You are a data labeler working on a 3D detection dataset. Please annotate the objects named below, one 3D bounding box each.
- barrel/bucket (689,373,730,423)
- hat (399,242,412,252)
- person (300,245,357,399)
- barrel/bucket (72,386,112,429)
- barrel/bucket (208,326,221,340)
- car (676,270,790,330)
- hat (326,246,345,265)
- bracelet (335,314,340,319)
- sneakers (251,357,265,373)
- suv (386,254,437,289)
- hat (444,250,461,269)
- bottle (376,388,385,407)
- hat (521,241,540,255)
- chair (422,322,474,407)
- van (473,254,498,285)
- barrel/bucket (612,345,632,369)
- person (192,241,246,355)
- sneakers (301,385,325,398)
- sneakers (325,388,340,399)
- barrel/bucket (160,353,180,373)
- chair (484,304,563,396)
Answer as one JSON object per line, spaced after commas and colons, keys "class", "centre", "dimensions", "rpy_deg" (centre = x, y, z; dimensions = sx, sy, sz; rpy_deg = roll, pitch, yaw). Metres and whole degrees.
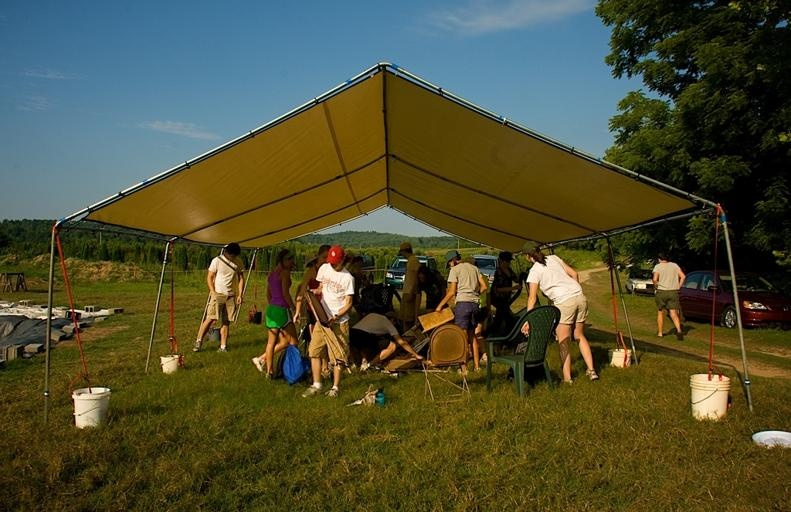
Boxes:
{"class": "barrel/bucket", "centre": [5.216, 2.342, 9.481], "dimensions": [0.686, 0.641, 0.629], "rpy_deg": [8, -10, 1]}
{"class": "hat", "centre": [0.328, -0.236, 14.103], "dimensions": [0.271, 0.218, 0.450], "rpy_deg": [6, -1, -23]}
{"class": "person", "centre": [-1.203, 1.200, 10.487], "dimensions": [0.832, 2.717, 0.557], "rpy_deg": [-1, -3, -10]}
{"class": "barrel/bucket", "centre": [-5.027, 2.477, 9.447], "dimensions": [0.572, 0.611, 0.447], "rpy_deg": [-2, -3, 6]}
{"class": "barrel/bucket", "centre": [-4.872, 2.084, 15.389], "dimensions": [0.271, 0.303, 0.293], "rpy_deg": [-1, -4, 0]}
{"class": "car", "centre": [9.634, 1.313, 16.550], "dimensions": [1.522, 1.462, 3.459], "rpy_deg": [1, -5, -5]}
{"class": "hat", "centre": [-1.099, -0.029, 10.452], "dimensions": [0.300, 0.336, 0.406], "rpy_deg": [-1, -3, -8]}
{"class": "bracelet", "centre": [-1.067, 1.101, 10.428], "dimensions": [0.060, 0.093, 0.034], "rpy_deg": [-2, 16, -2]}
{"class": "sneakers", "centre": [-2.873, 2.265, 12.023], "dimensions": [0.244, 0.299, 0.383], "rpy_deg": [-1, -3, -11]}
{"class": "suv", "centre": [0.228, 0.649, 25.465], "dimensions": [1.248, 1.215, 2.197], "rpy_deg": [-2, -6, 22]}
{"class": "hat", "centre": [1.232, 0.071, 12.063], "dimensions": [0.342, 0.382, 0.293], "rpy_deg": [-6, 5, -15]}
{"class": "bottle", "centre": [-0.312, 2.517, 10.219], "dimensions": [0.204, 0.334, 0.214], "rpy_deg": [1, 1, 0]}
{"class": "hat", "centre": [2.558, -0.164, 10.851], "dimensions": [0.236, 0.202, 0.336], "rpy_deg": [1, 8, 10]}
{"class": "chair", "centre": [0.976, 1.998, 11.103], "dimensions": [0.750, 1.463, 0.906], "rpy_deg": [-1, 0, -1]}
{"class": "van", "centre": [3.624, 0.418, 23.126], "dimensions": [1.002, 1.054, 2.316], "rpy_deg": [0, -3, 10]}
{"class": "barrel/bucket", "centre": [4.651, 2.087, 11.893], "dimensions": [0.388, 0.415, 0.409], "rpy_deg": [1, -6, 0]}
{"class": "person", "centre": [-4.180, 0.991, 13.767], "dimensions": [1.015, 2.569, 1.362], "rpy_deg": [0, -3, -18]}
{"class": "sneakers", "centre": [-1.555, 2.494, 10.570], "dimensions": [0.368, 0.165, 0.156], "rpy_deg": [3, -8, -42]}
{"class": "sneakers", "centre": [-1.182, 2.502, 10.547], "dimensions": [0.243, 0.149, 0.237], "rpy_deg": [-1, -3, -7]}
{"class": "barrel/bucket", "centre": [-4.741, 2.271, 12.096], "dimensions": [0.386, 0.351, 0.347], "rpy_deg": [0, -3, -25]}
{"class": "chair", "centre": [2.382, 1.710, 10.748], "dimensions": [1.212, 1.684, 1.256], "rpy_deg": [1, 0, 42]}
